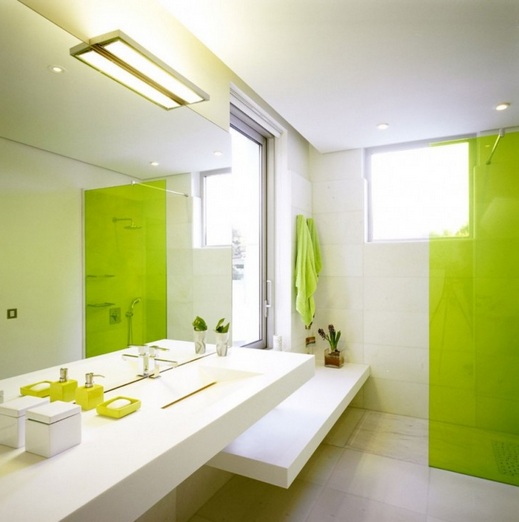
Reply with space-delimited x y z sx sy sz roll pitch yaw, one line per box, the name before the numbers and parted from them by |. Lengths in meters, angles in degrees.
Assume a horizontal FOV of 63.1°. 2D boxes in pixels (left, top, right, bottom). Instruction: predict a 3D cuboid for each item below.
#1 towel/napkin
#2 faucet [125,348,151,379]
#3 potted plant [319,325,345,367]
towel/napkin | 0.376 0.103 3.645 0.195 0.965 0.534 3 5 15
faucet | -0.526 0.441 1.824 0.114 0.134 0.078 0 0 -44
potted plant | 0.600 0.743 3.715 0.226 0.488 0.193 -6 -12 37
